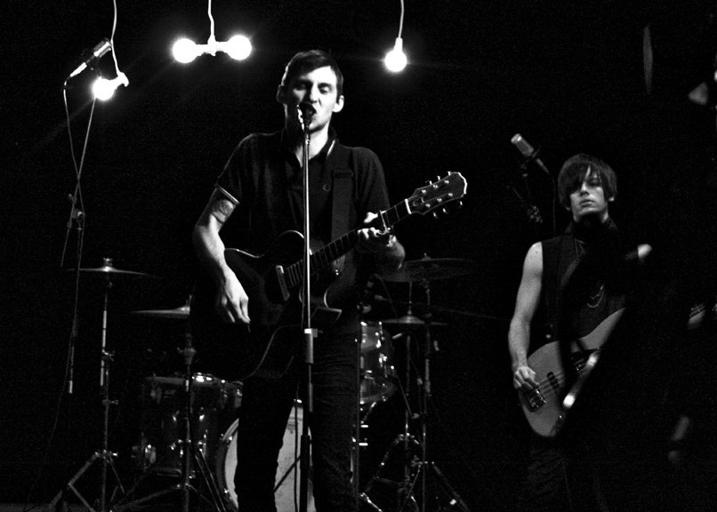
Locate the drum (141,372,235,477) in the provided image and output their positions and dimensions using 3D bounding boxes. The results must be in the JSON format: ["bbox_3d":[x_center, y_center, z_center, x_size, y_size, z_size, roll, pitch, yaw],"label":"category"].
[{"bbox_3d":[-1.172,1.274,5.907,0.768,0.810,0.791,0,-9,30],"label":"drum"}]

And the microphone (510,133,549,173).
[{"bbox_3d":[1.120,-0.683,4.902,0.084,0.101,0.338,-46,-68,0],"label":"microphone"}]

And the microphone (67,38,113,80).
[{"bbox_3d":[-1.666,-1.221,4.701,0.305,0.293,0.118,-28,-45,28],"label":"microphone"}]

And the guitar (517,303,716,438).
[{"bbox_3d":[1.455,0.527,4.339,1.236,0.542,0.155,-41,-24,19],"label":"guitar"}]

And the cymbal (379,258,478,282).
[{"bbox_3d":[0.521,0.090,5.229,0.299,0.035,0.305,-19,-22,36],"label":"cymbal"}]

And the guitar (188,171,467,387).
[{"bbox_3d":[-0.311,0.206,3.910,1.677,0.792,0.240,-32,-31,33],"label":"guitar"}]

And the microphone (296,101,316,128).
[{"bbox_3d":[-0.256,-0.689,3.714,0.082,0.144,0.040,2,-9,1],"label":"microphone"}]

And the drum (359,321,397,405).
[{"bbox_3d":[0.119,0.741,5.310,0.172,0.521,0.359,3,1,24],"label":"drum"}]
